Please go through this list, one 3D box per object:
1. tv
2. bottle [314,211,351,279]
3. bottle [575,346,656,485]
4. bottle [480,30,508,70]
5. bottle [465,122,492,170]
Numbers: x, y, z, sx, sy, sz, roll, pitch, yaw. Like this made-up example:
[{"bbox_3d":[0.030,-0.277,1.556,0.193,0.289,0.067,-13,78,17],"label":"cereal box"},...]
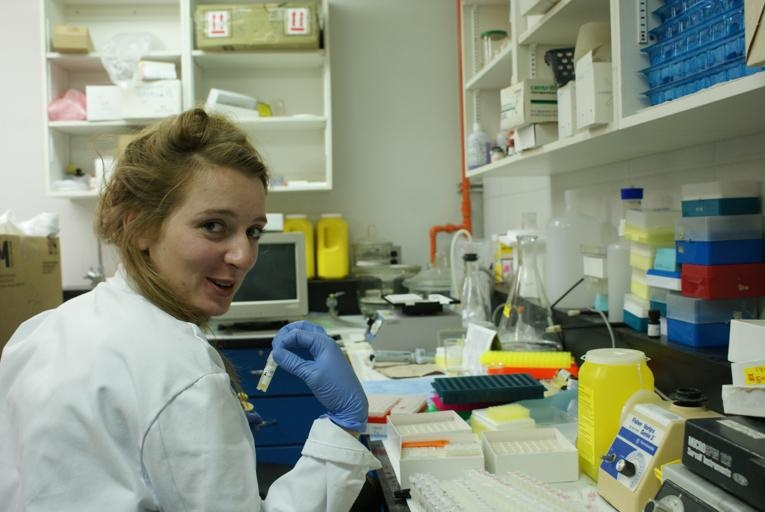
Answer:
[{"bbox_3d":[-0.721,0.142,3.785,0.536,0.512,0.291,-1,-7,-21],"label":"tv"},{"bbox_3d":[-0.329,-0.052,4.322,0.347,0.410,0.352,-3,2,-16],"label":"bottle"},{"bbox_3d":[0.717,0.486,2.016,0.231,0.369,0.227,0,-3,0],"label":"bottle"},{"bbox_3d":[0.537,-1.036,3.375,0.177,0.202,0.183,0,3,2],"label":"bottle"},{"bbox_3d":[0.495,-0.564,3.381,0.125,0.223,0.128,-3,6,0],"label":"bottle"}]
